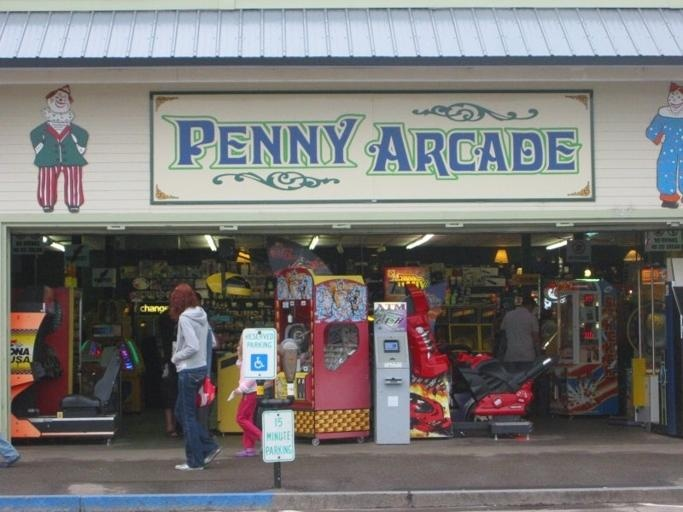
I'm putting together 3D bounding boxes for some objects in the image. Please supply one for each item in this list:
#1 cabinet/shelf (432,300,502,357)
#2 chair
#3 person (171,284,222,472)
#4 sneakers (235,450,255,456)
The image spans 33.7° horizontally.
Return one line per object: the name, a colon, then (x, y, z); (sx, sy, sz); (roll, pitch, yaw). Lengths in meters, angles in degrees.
cabinet/shelf: (2.911, 1.582, 24.683); (1.440, 1.182, 0.816); (-2, -2, 31)
chair: (-4.099, 2.101, 18.994); (0.732, 1.065, 1.108); (-3, -5, 19)
person: (-2.176, 1.762, 16.749); (0.645, 2.724, 0.767); (-1, -5, -7)
sneakers: (-1.488, 3.031, 17.549); (0.289, 0.119, 0.107); (4, -8, 0)
